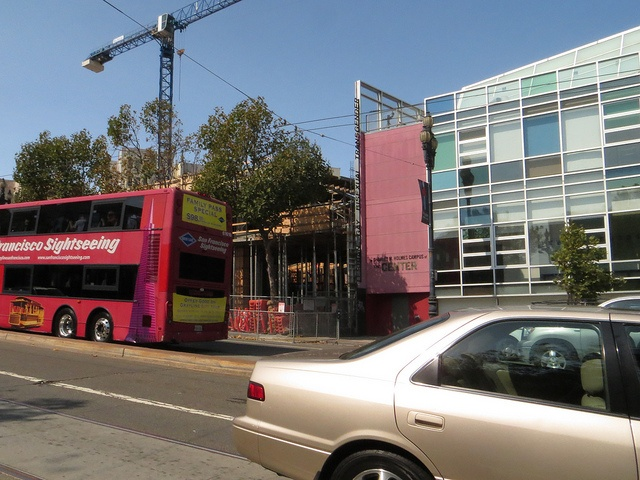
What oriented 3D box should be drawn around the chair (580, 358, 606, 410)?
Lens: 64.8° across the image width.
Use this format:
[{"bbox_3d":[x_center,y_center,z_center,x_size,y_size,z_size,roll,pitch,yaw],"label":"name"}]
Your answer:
[{"bbox_3d":[2.066,1.076,3.780,0.175,0.339,0.143,-1,-3,32],"label":"chair"}]
